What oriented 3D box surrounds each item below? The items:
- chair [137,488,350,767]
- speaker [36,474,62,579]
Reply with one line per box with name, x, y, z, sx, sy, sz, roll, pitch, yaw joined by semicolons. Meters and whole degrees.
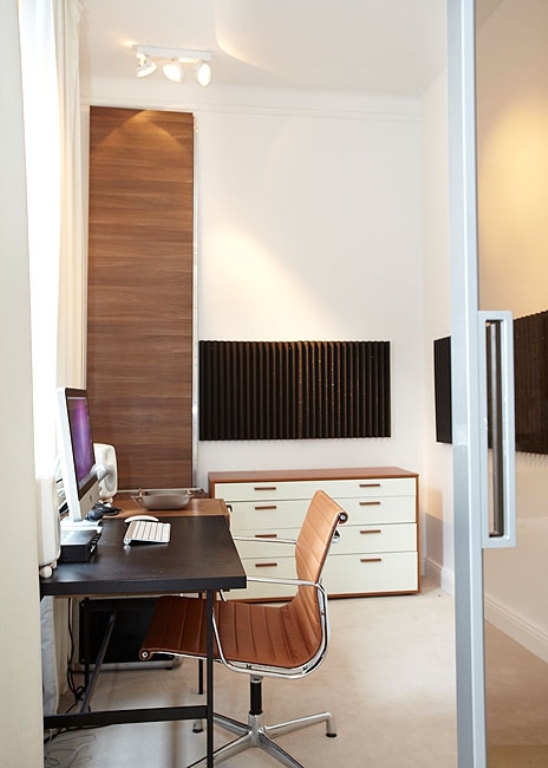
chair;-0.096;0.831;2.435;0.705;1.202;0.683;2;-4;-7
speaker;-0.637;0.398;1.831;0.049;0.272;0.187;0;0;-8
